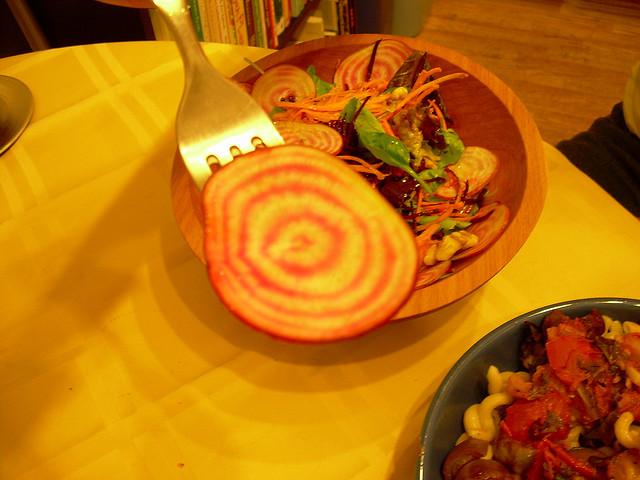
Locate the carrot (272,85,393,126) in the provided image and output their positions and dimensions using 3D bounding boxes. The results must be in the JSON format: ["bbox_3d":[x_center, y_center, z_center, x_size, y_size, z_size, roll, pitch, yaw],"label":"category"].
[{"bbox_3d":[0.024,-0.327,1.283,0.237,0.039,0.121,-12,49,3],"label":"carrot"}]

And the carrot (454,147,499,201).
[{"bbox_3d":[0.359,-0.148,1.211,0.023,0.111,0.085,16,15,-46],"label":"carrot"}]

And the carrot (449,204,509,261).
[{"bbox_3d":[0.333,-0.025,1.067,0.133,0.099,0.034,-41,110,-32],"label":"carrot"}]

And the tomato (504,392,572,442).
[{"bbox_3d":[0.387,0.311,0.926,0.118,0.036,0.076,-3,55,-5],"label":"tomato"}]

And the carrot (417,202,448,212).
[{"bbox_3d":[0.254,-0.072,1.183,0.093,0.013,0.016,3,86,1],"label":"carrot"}]

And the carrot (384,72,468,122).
[{"bbox_3d":[0.258,-0.337,1.254,0.185,0.031,0.030,-36,43,-17],"label":"carrot"}]

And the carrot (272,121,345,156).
[{"bbox_3d":[-0.023,-0.240,1.210,0.155,0.021,0.090,19,50,12],"label":"carrot"}]

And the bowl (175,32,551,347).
[{"bbox_3d":[0.048,-0.085,1.213,0.805,0.265,0.748,3,49,-3],"label":"bowl"}]

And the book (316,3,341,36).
[{"bbox_3d":[0.051,-1.211,2.882,0.129,0.177,0.053,2,56,-1],"label":"book"}]

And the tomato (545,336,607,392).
[{"bbox_3d":[0.459,0.209,0.948,0.090,0.049,0.085,-27,60,-20],"label":"tomato"}]
